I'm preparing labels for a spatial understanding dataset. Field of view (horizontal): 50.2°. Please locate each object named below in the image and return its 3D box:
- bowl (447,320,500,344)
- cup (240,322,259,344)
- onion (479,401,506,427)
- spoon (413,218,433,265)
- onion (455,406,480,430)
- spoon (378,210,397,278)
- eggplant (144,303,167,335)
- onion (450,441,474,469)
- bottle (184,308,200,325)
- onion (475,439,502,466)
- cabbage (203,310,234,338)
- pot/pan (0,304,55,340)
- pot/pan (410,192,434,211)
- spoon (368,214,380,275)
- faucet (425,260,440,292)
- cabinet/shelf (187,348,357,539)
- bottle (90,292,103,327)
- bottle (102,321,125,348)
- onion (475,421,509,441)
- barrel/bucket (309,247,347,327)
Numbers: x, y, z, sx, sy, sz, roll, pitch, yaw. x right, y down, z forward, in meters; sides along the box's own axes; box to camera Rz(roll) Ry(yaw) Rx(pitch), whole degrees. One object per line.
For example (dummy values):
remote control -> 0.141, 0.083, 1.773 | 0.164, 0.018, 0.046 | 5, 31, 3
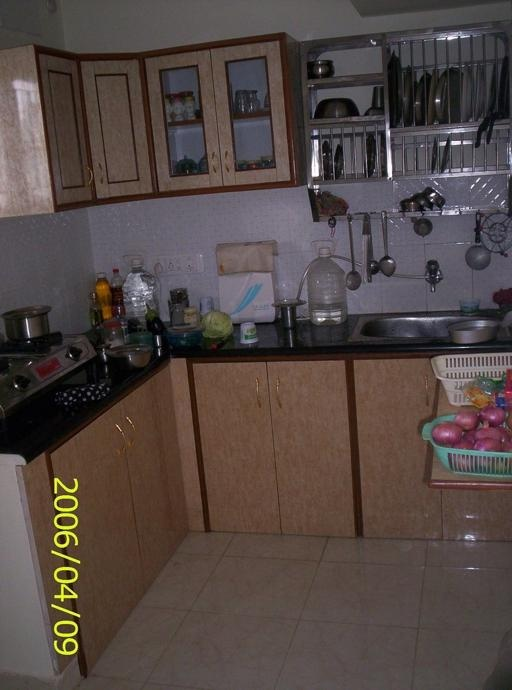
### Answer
bowl -> 0.838, -0.046, 2.105 | 0.165, 0.070, 0.242 | -3, 8, 25
cup -> -0.034, -0.052, 2.387 | 0.081, 0.090, 0.084 | -2, 9, 0
onion -> 0.424, 0.125, 0.990 | 0.036, 0.037, 0.037 | 4, -8, -8
spoon -> 0.785, -0.491, 2.561 | 0.087, 0.022, 0.261 | 5, -33, 21
onion -> 0.377, 0.138, 0.999 | 0.041, 0.041, 0.041 | -2, -15, -7
spoon -> 0.601, -0.456, 2.537 | 0.082, 0.301, 0.248 | -4, 7, 14
eggplant -> -0.489, -0.121, 2.622 | 0.072, 0.084, 0.303 | -14, 22, -13
onion -> 0.327, 0.175, 0.871 | 0.035, 0.040, 0.036 | -10, -6, 21
bottle -> -0.317, -0.136, 2.657 | 0.084, 0.122, 0.045 | 0, 23, -1
onion -> 0.365, 0.161, 0.862 | 0.041, 0.014, 0.070 | -3, 8, 24
cabbage -> -0.180, -0.088, 2.489 | 0.105, 0.117, 0.133 | 0, 3, 2
pot/pan -> -0.798, -0.071, 1.899 | 0.133, 0.082, 0.131 | -15, 16, -39
pot/pan -> 0.728, -0.617, 2.420 | 0.070, 0.096, 0.094 | -5, 15, 32
spoon -> 0.541, -0.454, 2.573 | 0.063, 0.304, 0.206 | -4, 7, 13
faucet -> 0.825, -0.322, 2.563 | 0.078, 0.149, 0.058 | -2, 14, 6
cabinet/shelf -> 0.090, 0.393, 2.324 | 0.747, 0.914, 0.322 | 1, 19, 15
bottle -> -0.807, -0.174, 2.732 | 0.057, 0.166, 0.087 | -8, 7, -16
bottle -> -0.614, -0.042, 2.338 | 0.105, 0.138, 0.090 | 0, 3, -28
onion -> 0.395, 0.141, 0.927 | 0.034, 0.035, 0.034 | -4, 4, 39
barrel/bucket -> 0.322, -0.264, 2.522 | 0.175, 0.356, 0.105 | -5, 7, 7
